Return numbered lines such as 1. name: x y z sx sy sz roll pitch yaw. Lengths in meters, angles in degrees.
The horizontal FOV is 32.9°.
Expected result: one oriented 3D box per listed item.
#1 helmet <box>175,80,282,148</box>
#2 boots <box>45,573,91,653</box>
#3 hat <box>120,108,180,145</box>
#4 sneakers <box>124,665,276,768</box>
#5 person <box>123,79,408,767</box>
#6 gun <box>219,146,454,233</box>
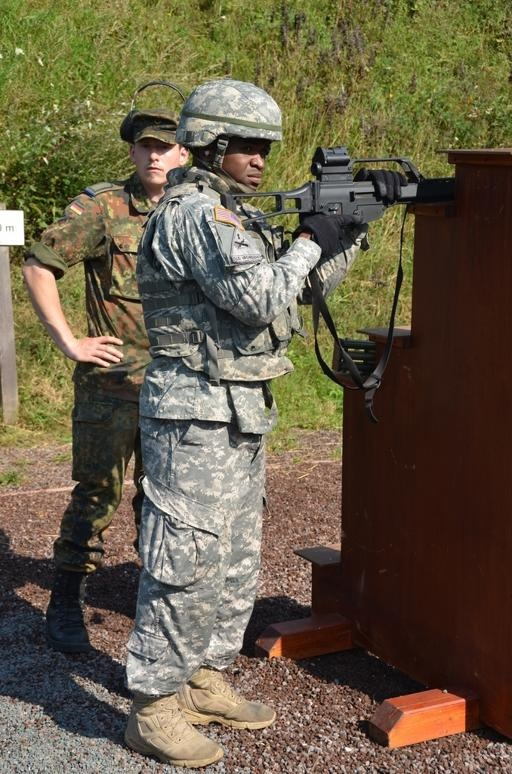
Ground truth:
1. helmet: -0.072 -0.763 2.402 0.283 0.162 0.283 -9 29 -29
2. boots: -0.692 0.802 3.163 0.121 0.272 0.295 11 2 -30
3. hat: -0.392 -0.951 3.212 0.236 0.102 0.248 3 12 1
4. sneakers: -0.161 0.964 2.515 0.271 0.201 0.317 7 11 20
5. person: -0.098 0.114 2.391 0.518 1.897 0.498 4 13 14
6. gun: 0.279 -0.555 2.527 0.841 0.261 0.154 -11 21 -31
